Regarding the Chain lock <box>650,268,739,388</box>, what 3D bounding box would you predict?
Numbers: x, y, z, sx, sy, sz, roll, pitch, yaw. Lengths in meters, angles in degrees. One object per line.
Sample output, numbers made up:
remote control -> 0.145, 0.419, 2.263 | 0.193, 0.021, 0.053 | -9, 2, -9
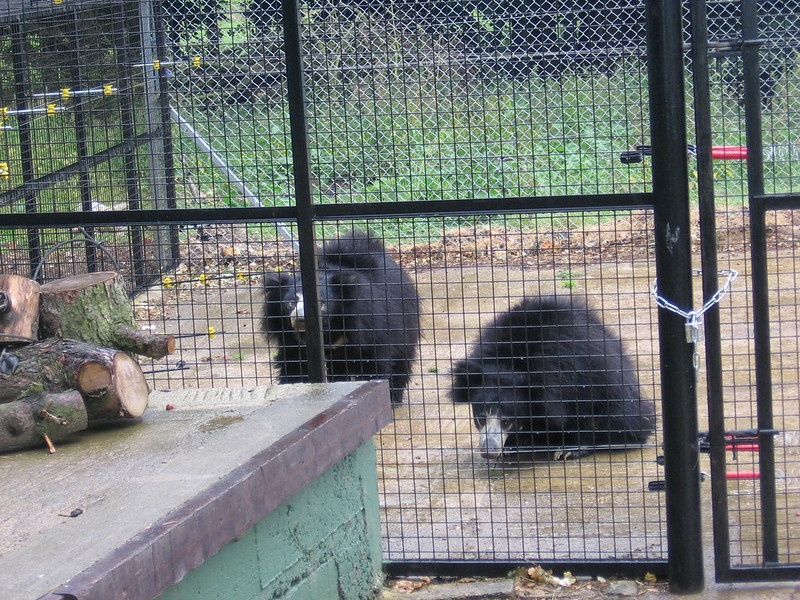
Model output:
Chain lock -> 1.678, 0.117, 8.001 | 0.469, 0.560, 0.354 | 0, -3, 9

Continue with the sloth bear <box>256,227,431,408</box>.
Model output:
sloth bear -> -0.584, 0.412, 11.533 | 0.798, 0.950, 1.400 | -17, -23, 18

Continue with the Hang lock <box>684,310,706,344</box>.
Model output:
Hang lock -> 1.693, 0.156, 7.935 | 0.084, 0.187, 0.160 | -2, -3, 42
